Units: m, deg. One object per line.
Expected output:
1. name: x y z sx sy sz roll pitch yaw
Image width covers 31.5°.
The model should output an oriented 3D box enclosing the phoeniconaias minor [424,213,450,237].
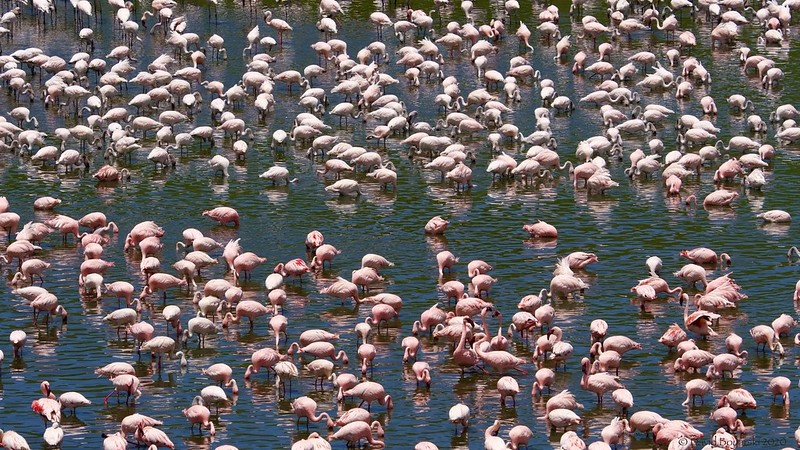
1. phoeniconaias minor: 1.724 0.036 62.839 1.012 1.049 0.974 14 56 -2

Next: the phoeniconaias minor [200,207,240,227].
1. phoeniconaias minor: -7.901 -0.406 63.570 1.684 0.949 0.710 7 57 -5

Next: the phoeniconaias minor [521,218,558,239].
1. phoeniconaias minor: 6.297 0.204 62.605 1.413 0.588 0.722 2 15 27
